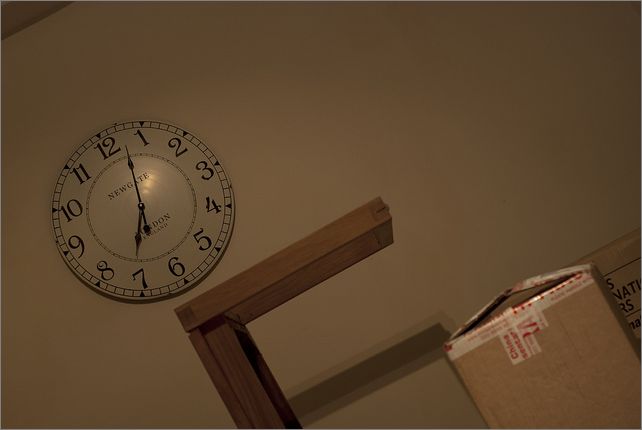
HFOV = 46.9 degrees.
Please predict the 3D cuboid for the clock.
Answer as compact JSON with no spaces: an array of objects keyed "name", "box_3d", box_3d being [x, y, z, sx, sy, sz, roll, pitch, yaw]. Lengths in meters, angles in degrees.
[{"name":"clock","box_3d":[-1.013,0.018,4.232,0.829,0.835,0.092,20,-9,10]}]
